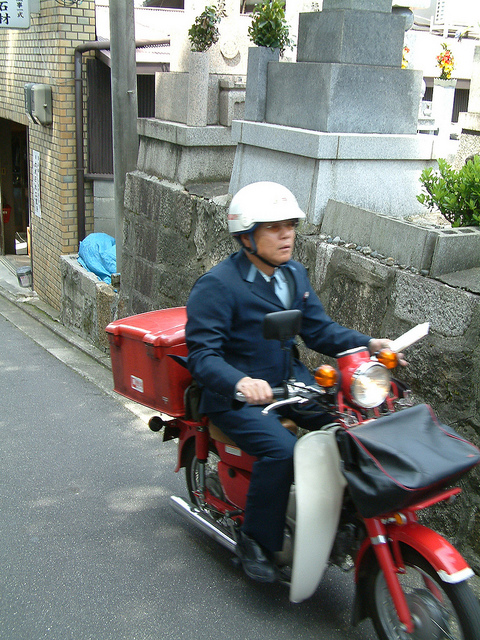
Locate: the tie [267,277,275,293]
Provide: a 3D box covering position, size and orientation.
[{"bbox_3d":[0.134,-0.149,2.278,0.032,0.049,0.017,-4,-19,-17],"label":"tie"}]

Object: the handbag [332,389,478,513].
[{"bbox_3d":[0.435,0.383,1.544,0.291,0.147,0.390,-13,51,-32],"label":"handbag"}]

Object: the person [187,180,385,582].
[{"bbox_3d":[0.181,0.254,2.259,0.750,1.649,0.727,-11,12,-41],"label":"person"}]

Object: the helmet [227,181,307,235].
[{"bbox_3d":[0.093,-0.443,2.191,0.309,0.266,0.260,10,25,25],"label":"helmet"}]

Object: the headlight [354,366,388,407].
[{"bbox_3d":[0.416,0.208,1.683,0.137,0.128,0.029,-4,9,-36],"label":"headlight"}]

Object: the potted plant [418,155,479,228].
[{"bbox_3d":[1.217,-0.731,3.042,0.221,0.414,0.568,0,8,-14],"label":"potted plant"}]
